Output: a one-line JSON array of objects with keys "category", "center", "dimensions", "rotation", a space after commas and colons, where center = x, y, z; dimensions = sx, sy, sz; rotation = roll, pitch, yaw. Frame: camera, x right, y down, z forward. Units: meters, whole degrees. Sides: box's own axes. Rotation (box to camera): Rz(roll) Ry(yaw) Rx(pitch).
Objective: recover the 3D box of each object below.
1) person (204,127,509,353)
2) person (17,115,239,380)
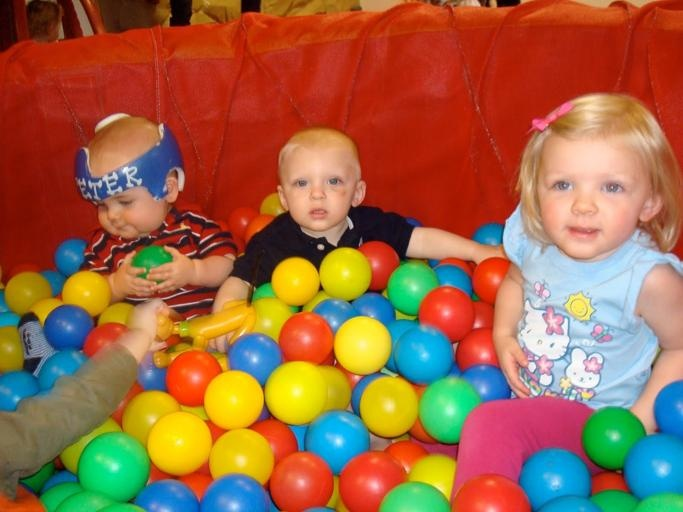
[{"category": "person", "center": [-0.071, -0.165, 2.833], "dimensions": [1.491, 0.747, 0.488], "rotation": [-14, 11, -16]}, {"category": "person", "center": [-0.790, -0.168, 2.910], "dimensions": [0.653, 0.998, 1.144], "rotation": [-2, 48, -1]}]
